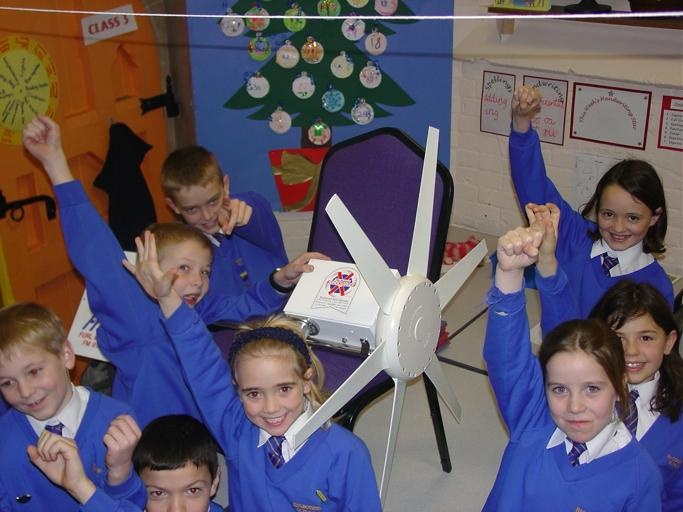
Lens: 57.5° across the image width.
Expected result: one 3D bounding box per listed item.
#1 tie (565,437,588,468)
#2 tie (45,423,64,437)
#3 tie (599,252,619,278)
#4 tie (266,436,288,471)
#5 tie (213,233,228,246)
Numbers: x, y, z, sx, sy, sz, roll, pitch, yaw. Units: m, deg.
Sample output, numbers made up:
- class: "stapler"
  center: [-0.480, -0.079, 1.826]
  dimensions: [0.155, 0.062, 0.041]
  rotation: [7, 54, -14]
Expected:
- class: "tie"
  center: [0.788, 0.659, 2.090]
  dimensions: [0.048, 0.083, 0.019]
  rotation: [16, 9, 40]
- class: "tie"
  center: [-1.011, 0.620, 2.214]
  dimensions: [0.069, 0.054, 0.027]
  rotation: [3, -11, -21]
- class: "tie"
  center: [1.312, 0.031, 3.058]
  dimensions: [0.089, 0.099, 0.029]
  rotation: [10, 7, 43]
- class: "tie"
  center: [-0.231, 0.689, 2.177]
  dimensions: [0.054, 0.109, 0.024]
  rotation: [-6, -6, 12]
- class: "tie"
  center: [-0.612, -0.085, 3.109]
  dimensions: [0.016, 0.062, 0.062]
  rotation: [-4, 12, 46]
